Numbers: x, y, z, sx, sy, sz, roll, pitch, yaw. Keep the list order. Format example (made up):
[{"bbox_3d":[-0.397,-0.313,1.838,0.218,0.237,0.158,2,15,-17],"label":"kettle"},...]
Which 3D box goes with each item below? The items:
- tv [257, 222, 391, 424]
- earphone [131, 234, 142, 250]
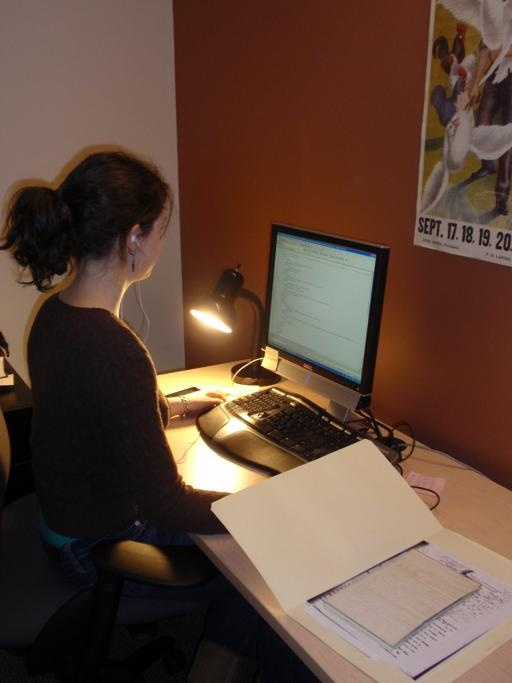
[{"bbox_3d":[0.169,-0.039,1.331,0.044,0.394,0.420,-9,29,-29],"label":"tv"},{"bbox_3d":[-0.229,-0.192,1.075,0.015,0.024,0.019,7,-2,0],"label":"earphone"}]
